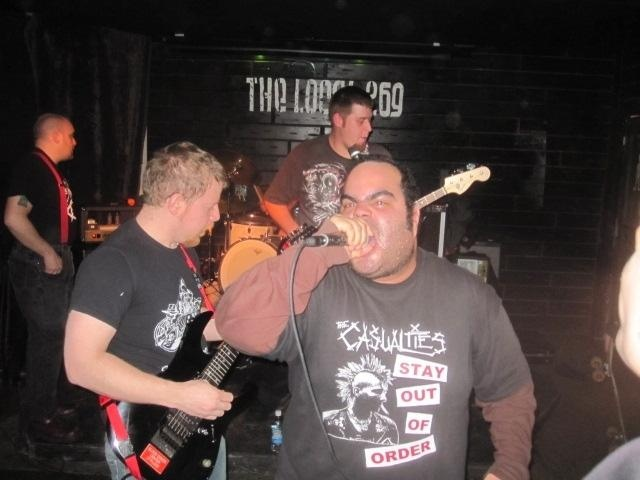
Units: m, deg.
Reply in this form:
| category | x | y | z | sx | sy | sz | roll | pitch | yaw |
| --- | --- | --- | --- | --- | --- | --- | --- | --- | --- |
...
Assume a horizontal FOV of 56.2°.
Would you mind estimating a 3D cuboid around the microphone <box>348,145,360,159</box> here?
| category | x | y | z | sx | sy | sz | roll | pitch | yaw |
| --- | --- | --- | --- | --- | --- | --- | --- | --- | --- |
| microphone | 0.291 | -0.727 | 4.939 | 0.088 | 0.118 | 0.265 | 4 | 3 | 0 |

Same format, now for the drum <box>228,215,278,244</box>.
| category | x | y | z | sx | sy | sz | roll | pitch | yaw |
| --- | --- | --- | --- | --- | --- | --- | --- | --- | --- |
| drum | -0.778 | -0.159 | 7.042 | 0.399 | 0.355 | 0.404 | 6 | 5 | 33 |

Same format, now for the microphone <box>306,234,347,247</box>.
| category | x | y | z | sx | sy | sz | roll | pitch | yaw |
| --- | --- | --- | --- | --- | --- | --- | --- | --- | --- |
| microphone | 0.033 | 0.003 | 3.409 | 0.237 | 0.079 | 0.050 | 4 | 4 | -2 |

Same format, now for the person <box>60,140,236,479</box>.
| category | x | y | z | sx | sy | sz | roll | pitch | yaw |
| --- | --- | --- | --- | --- | --- | --- | --- | --- | --- |
| person | -1.094 | 0.266 | 3.929 | 1.021 | 1.864 | 0.595 | 3 | 5 | -22 |
